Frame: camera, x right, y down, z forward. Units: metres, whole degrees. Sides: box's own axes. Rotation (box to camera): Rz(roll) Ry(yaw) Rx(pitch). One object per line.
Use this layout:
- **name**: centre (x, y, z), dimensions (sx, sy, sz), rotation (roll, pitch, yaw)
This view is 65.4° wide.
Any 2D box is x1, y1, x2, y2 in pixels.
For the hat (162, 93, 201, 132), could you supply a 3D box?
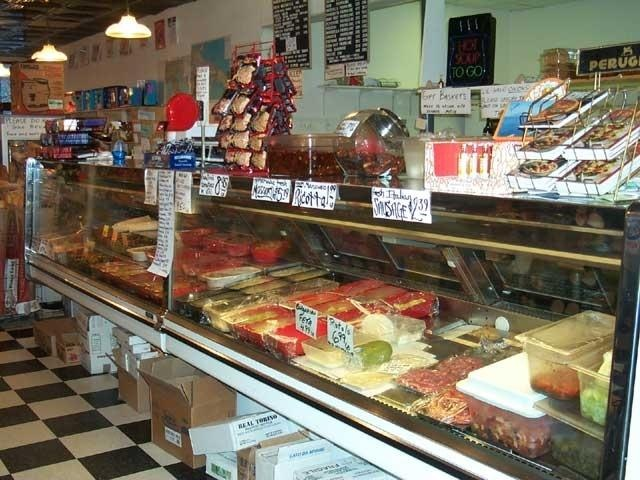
- **hat**: centre (-0.636, -0.629, 2.442), dimensions (0.191, 0.189, 0.182), rotation (1, 2, 0)

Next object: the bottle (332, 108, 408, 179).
- **bottle**: centre (0.172, -0.324, 1.670), dimensions (0.239, 0.231, 0.242), rotation (2, 10, 9)
